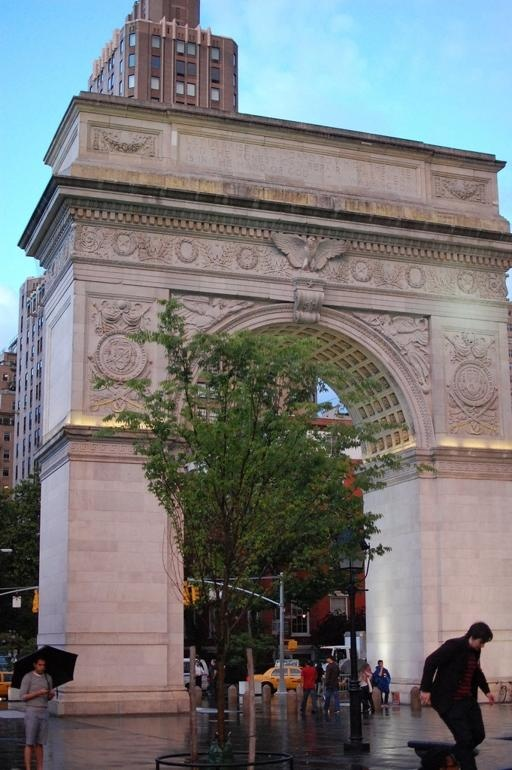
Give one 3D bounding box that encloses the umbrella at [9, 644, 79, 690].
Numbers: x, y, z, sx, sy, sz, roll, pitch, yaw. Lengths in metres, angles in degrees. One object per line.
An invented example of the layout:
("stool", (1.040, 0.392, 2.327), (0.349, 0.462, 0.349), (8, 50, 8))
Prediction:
("umbrella", (-3.026, 3.917, 16.158), (0.814, 0.352, 0.777), (-16, -53, -12))
